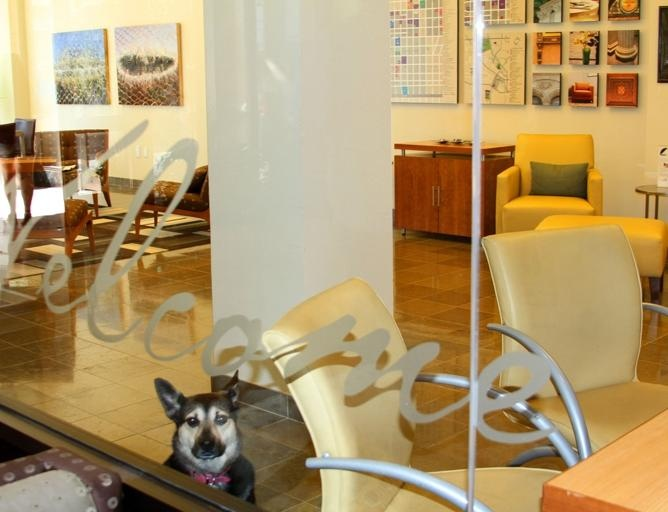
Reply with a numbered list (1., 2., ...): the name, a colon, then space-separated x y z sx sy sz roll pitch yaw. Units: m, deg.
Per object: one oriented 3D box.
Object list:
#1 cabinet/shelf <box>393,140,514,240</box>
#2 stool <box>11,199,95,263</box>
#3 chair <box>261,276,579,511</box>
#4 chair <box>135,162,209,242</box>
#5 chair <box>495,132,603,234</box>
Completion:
1. cabinet/shelf: 0.278 -0.176 1.530 0.277 0.255 0.152 1 -6 -8
2. stool: -1.045 -0.097 2.064 0.224 0.316 0.269 1 3 25
3. chair: 0.227 0.200 1.281 0.554 0.754 0.439 2 32 38
4. chair: -0.500 -0.188 1.714 0.247 0.245 0.187 6 11 -18
5. chair: 1.146 -0.352 2.805 0.516 0.549 0.480 7 20 31
